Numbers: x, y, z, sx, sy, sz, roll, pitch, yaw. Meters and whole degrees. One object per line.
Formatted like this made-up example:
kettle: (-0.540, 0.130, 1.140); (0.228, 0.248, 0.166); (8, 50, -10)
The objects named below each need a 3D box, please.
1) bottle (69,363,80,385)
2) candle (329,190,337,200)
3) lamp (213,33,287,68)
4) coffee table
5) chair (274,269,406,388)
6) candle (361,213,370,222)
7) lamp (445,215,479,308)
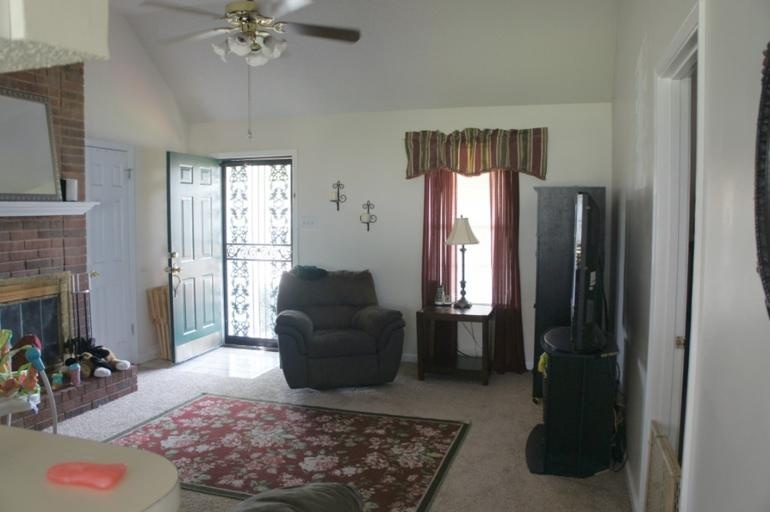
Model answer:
bottle: (-2.684, 1.007, 4.981); (0.095, 0.169, 0.197); (-6, 11, -29)
candle: (-0.564, -0.686, 6.429); (0.094, 0.104, 0.110); (-1, -4, 35)
lamp: (-0.825, -1.383, 3.697); (0.357, 0.108, 0.401); (-10, 0, 4)
coffee table: (0.725, 0.739, 5.863); (0.891, 0.851, 0.689); (0, 3, 20)
chair: (-0.488, 0.684, 5.937); (1.114, 1.074, 1.129); (-1, 0, -9)
candle: (-0.223, -0.424, 6.390); (0.103, 0.093, 0.018); (3, 10, 20)
lamp: (0.797, 0.040, 5.900); (0.305, 0.915, 0.551); (1, 10, 9)
